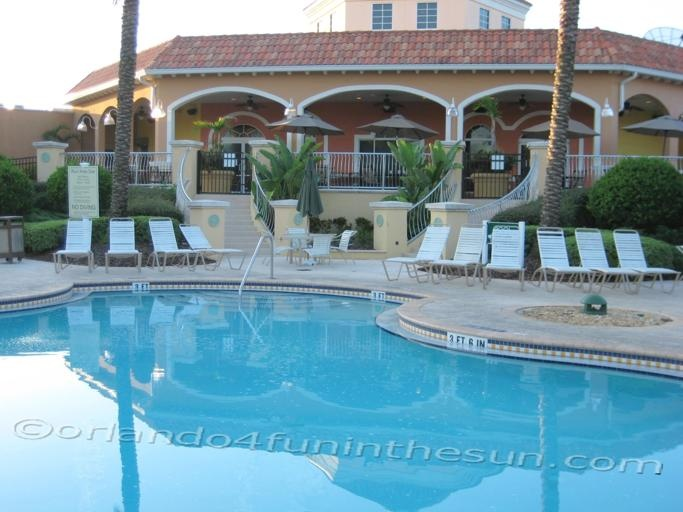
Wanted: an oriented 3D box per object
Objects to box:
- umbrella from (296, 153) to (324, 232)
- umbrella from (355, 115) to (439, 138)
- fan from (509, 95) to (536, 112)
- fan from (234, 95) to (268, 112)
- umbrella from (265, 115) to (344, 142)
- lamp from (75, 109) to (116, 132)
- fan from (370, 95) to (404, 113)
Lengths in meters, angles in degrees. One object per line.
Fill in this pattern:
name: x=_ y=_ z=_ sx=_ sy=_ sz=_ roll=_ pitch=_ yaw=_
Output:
umbrella: x=-0.918 y=-1.967 z=17.642 sx=0.721 sy=1.737 sz=0.785 roll=-1 pitch=9 yaw=-4
umbrella: x=2.135 y=-4.802 z=22.938 sx=1.560 sy=0.726 sz=1.483 roll=2 pitch=5 yaw=-42
fan: x=7.144 y=-6.023 z=24.702 sx=0.554 sy=0.490 sz=0.566 roll=0 pitch=0 yaw=6
fan: x=-3.759 y=-6.208 z=25.486 sx=0.838 sy=0.426 sz=0.755 roll=-1 pitch=1 yaw=-21
umbrella: x=-1.235 y=-4.249 z=20.409 sx=1.557 sy=0.676 sz=1.643 roll=10 pitch=6 yaw=30
lamp: x=-11.387 y=-6.245 z=28.752 sx=1.622 sy=0.940 sz=1.882 roll=-4 pitch=10 yaw=-24
fan: x=1.811 y=-6.158 z=24.739 sx=0.802 sy=0.467 sz=0.766 roll=4 pitch=7 yaw=37
